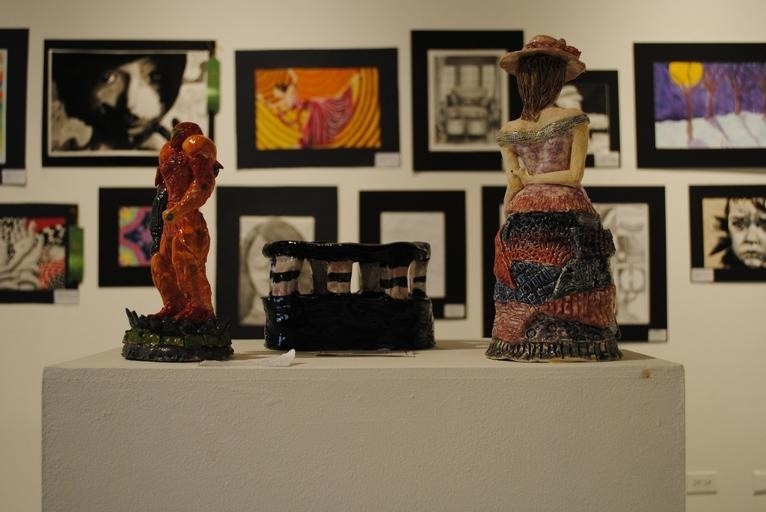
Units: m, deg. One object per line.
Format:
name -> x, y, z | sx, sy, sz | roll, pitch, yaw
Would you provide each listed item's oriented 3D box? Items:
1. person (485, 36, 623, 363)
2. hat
person -> 0.960, -0.271, 7.408 | 0.698, 1.702, 0.282 | 2, 2, 9
hat -> 0.937, -1.120, 7.470 | 0.322, 0.118, 0.299 | 18, -20, -39
